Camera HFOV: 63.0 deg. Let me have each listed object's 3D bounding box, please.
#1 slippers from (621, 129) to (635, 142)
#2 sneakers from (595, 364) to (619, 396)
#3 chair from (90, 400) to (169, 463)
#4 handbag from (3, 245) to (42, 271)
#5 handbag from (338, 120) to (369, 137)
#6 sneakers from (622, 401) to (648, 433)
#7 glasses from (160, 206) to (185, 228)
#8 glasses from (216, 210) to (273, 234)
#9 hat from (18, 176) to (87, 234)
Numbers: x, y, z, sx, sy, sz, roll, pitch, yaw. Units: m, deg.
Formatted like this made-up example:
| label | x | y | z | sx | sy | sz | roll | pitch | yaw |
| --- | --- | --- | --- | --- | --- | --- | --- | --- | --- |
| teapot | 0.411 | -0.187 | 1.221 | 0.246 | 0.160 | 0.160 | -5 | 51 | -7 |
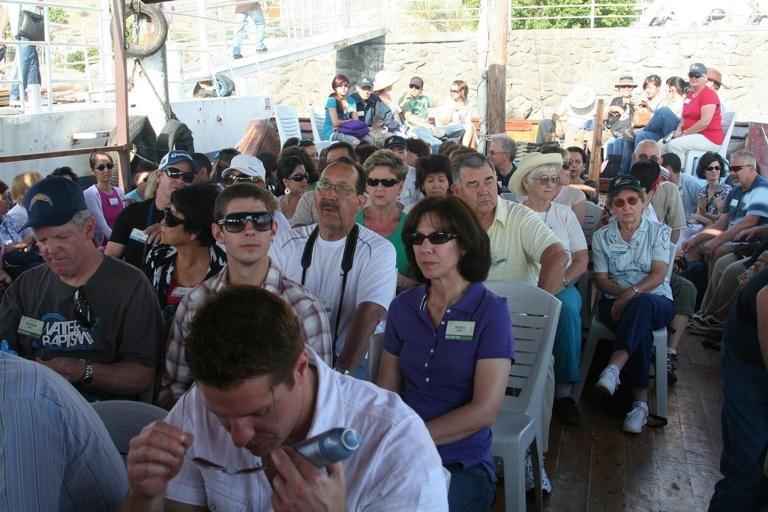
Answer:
| label | x | y | z | sx | sy | sz | roll | pitch | yaw |
| --- | --- | --- | --- | --- | --- | --- | --- | --- | --- |
| slippers | 4.678 | -2.333 | 11.990 | 0.148 | 0.207 | 0.461 | -3 | 17 | 2 |
| sneakers | 1.804 | 0.993 | 5.051 | 0.131 | 0.124 | 0.303 | 30 | 12 | 13 |
| chair | -1.323 | 0.857 | 3.308 | 0.370 | 0.299 | 0.327 | -1 | -3 | 24 |
| handbag | -3.954 | 0.032 | 6.821 | 0.374 | 0.147 | 0.290 | -8 | 18 | -38 |
| handbag | -0.532 | -2.169 | 10.620 | 0.357 | 0.129 | 0.363 | 7 | 23 | 0 |
| sneakers | 2.021 | 1.296 | 5.047 | 0.114 | 0.142 | 0.329 | 2 | 7 | 26 |
| glasses | -1.467 | -0.255 | 4.334 | 0.135 | 0.048 | 0.136 | 22 | 5 | -24 |
| glasses | -0.875 | -0.219 | 3.953 | 0.342 | 0.134 | 0.172 | 0 | 7 | -15 |
| hat | -2.038 | -0.322 | 3.939 | 0.249 | 0.233 | 0.379 | -6 | 11 | 17 |
